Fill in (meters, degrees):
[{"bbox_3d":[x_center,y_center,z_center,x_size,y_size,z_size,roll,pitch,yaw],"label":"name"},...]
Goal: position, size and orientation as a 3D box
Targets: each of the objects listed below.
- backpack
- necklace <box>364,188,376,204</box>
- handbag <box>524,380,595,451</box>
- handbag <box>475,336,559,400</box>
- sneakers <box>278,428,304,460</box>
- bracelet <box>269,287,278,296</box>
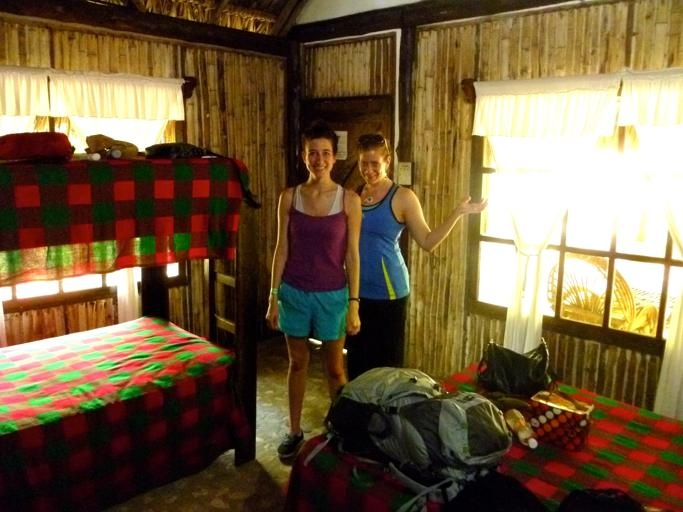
[{"bbox_3d":[0.310,0.674,1.993,0.482,0.218,0.498,11,16,41],"label":"backpack"},{"bbox_3d":[0.176,-0.362,3.043,0.079,0.081,0.019,-22,-29,36],"label":"necklace"},{"bbox_3d":[0.999,0.716,2.289,0.280,0.300,0.185,2,4,33],"label":"handbag"},{"bbox_3d":[0.901,0.584,2.577,0.375,0.289,0.205,-2,-16,34],"label":"handbag"},{"bbox_3d":[-0.320,1.212,3.226,0.093,0.099,0.245,3,5,26],"label":"sneakers"},{"bbox_3d":[-0.403,0.217,3.017,0.043,0.035,0.044,-1,10,-7],"label":"bracelet"}]
